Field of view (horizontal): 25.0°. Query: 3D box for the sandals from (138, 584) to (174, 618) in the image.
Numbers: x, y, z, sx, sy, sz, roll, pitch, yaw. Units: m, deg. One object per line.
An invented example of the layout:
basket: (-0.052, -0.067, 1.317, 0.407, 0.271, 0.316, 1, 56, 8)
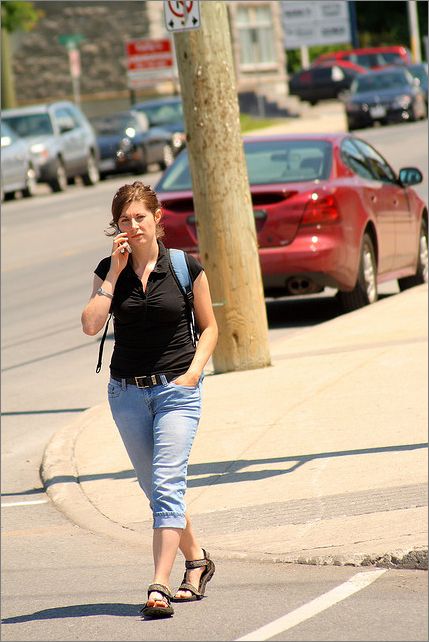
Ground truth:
sandals: (-0.206, 0.959, 3.293, 0.114, 0.138, 0.109, -10, 8, 0)

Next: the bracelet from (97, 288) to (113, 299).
bracelet: (-0.404, -0.100, 3.604, 0.053, 0.036, 0.058, 21, -11, -40)

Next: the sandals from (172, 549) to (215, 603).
sandals: (-0.070, 0.953, 3.596, 0.086, 0.093, 0.221, 2, 24, 20)

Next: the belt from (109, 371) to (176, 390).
belt: (-0.259, 0.223, 3.535, 0.237, 0.048, 0.053, -7, 9, 14)

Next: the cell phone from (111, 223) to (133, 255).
cell phone: (-0.347, -0.304, 3.613, 0.108, 0.095, 0.031, 2, -10, -2)
